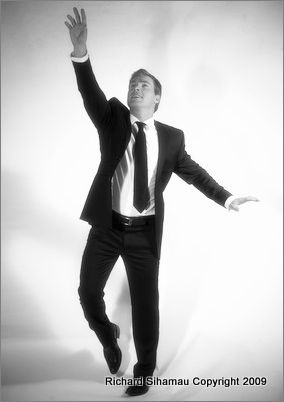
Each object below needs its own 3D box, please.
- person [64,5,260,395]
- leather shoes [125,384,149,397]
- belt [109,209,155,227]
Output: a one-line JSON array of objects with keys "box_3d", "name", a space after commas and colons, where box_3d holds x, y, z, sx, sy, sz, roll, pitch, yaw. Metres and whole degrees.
[{"box_3d": [-0.053, 0.084, 2.418, 1.052, 2.088, 0.370, 7, 5, -13], "name": "person"}, {"box_3d": [-0.036, 1.115, 2.438, 0.149, 0.056, 0.052, 2, -4, -15], "name": "leather shoes"}, {"box_3d": [-0.052, 0.113, 2.316, 0.243, 0.060, 0.047, 5, 5, -22], "name": "belt"}]
